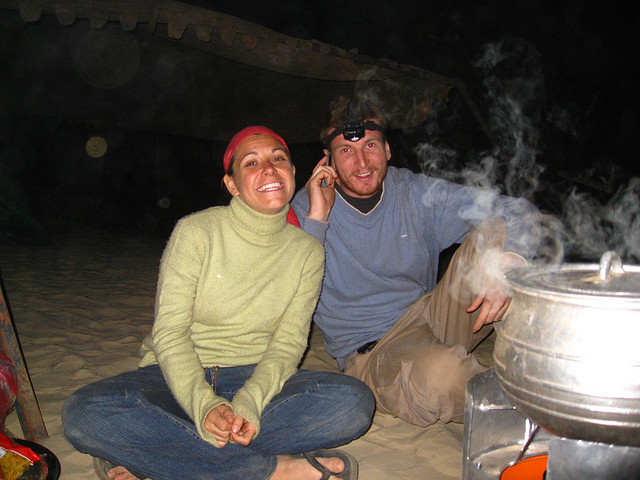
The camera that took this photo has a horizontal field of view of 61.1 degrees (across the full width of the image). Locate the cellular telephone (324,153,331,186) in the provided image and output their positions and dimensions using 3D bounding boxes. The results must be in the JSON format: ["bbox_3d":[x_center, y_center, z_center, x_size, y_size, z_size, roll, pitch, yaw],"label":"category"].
[{"bbox_3d":[0.067,-0.505,3.925,0.041,0.224,0.053,2,-10,16],"label":"cellular telephone"}]

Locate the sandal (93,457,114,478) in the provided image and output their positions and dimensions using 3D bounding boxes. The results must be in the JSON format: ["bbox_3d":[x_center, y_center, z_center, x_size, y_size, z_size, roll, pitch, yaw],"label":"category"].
[{"bbox_3d":[-1.258,1.305,3.102,0.106,0.025,0.105,29,-7,-25],"label":"sandal"}]

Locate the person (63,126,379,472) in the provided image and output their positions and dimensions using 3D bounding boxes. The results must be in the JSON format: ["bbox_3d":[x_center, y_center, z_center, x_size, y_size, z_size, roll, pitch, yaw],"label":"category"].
[{"bbox_3d":[-0.463,0.292,3.035,1.561,1.869,0.795,5,8,5],"label":"person"}]

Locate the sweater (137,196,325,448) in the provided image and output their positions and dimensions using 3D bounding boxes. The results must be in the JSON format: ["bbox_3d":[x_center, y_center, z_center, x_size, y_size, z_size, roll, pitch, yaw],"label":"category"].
[{"bbox_3d":[-0.462,0.350,3.104,0.903,1.383,1.204,13,2,-6],"label":"sweater"}]

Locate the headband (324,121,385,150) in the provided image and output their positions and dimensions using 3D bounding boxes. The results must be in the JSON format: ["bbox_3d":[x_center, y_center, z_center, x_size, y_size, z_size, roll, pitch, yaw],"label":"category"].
[{"bbox_3d":[0.229,-0.752,3.785,0.127,0.053,0.135,-15,-25,29],"label":"headband"}]
